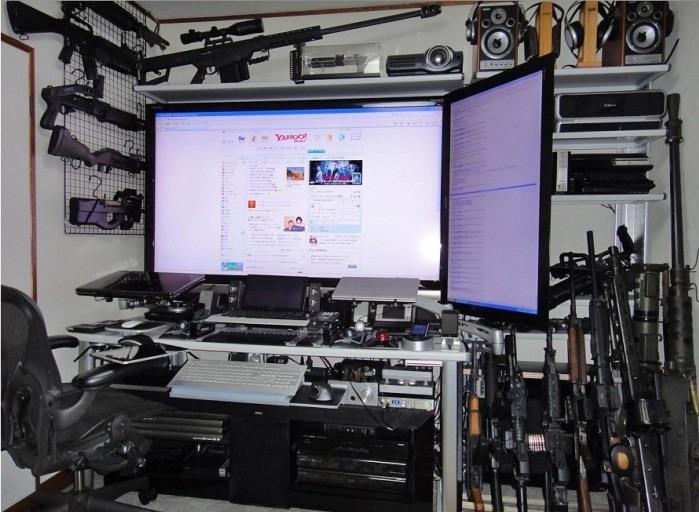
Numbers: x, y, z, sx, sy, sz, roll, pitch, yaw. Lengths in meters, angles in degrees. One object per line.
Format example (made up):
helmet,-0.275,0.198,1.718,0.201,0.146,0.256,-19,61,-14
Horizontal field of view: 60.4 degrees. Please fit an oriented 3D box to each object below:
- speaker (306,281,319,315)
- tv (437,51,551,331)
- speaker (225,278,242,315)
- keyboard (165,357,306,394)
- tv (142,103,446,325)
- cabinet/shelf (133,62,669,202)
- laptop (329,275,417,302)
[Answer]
speaker,-0.211,0.221,3.363,0.070,0.153,0.083,2,-3,-7
tv,0.707,-0.294,3.032,0.180,1.256,0.714,4,-4,-31
speaker,-0.641,0.223,3.338,0.089,0.197,0.179,3,-3,-11
keyboard,-0.625,0.663,3.294,0.685,0.074,0.340,2,12,6
tv,-0.365,-0.307,3.484,1.683,1.147,0.210,1,2,11
cabinet/shelf,0.326,-0.676,3.316,3.004,0.683,0.575,6,5,15
laptop,0.132,0.166,3.217,0.258,0.035,0.184,2,16,11
